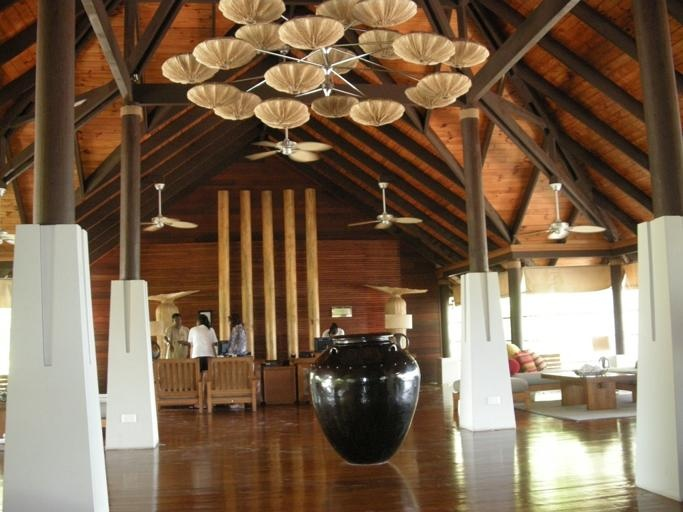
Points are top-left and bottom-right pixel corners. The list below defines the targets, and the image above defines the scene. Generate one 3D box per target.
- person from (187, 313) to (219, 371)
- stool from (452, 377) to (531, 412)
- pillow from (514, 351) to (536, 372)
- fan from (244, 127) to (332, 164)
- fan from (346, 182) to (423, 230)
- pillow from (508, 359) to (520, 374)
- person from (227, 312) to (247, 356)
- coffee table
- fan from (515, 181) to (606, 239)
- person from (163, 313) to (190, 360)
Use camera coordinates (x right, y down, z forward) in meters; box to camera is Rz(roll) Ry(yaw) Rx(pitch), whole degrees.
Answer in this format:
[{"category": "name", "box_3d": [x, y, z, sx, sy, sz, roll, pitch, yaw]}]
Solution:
[{"category": "person", "box_3d": [-2.260, 1.505, 11.398, 0.526, 1.035, 0.411, 2, -10, -24]}, {"category": "stool", "box_3d": [2.234, 1.947, 10.765, 1.090, 0.566, 1.424, -1, 3, 10]}, {"category": "pillow", "box_3d": [2.751, 1.618, 10.868, 0.181, 0.269, 0.215, -32, -33, 19]}, {"category": "fan", "box_3d": [-0.920, -1.950, 12.437, 1.723, 0.496, 1.313, 1, -3, -8]}, {"category": "fan", "box_3d": [0.700, -0.883, 12.200, 1.387, 0.670, 1.278, -1, 8, 17]}, {"category": "pillow", "box_3d": [2.482, 1.617, 10.383, 0.123, 0.239, 0.370, -2, -1, 12]}, {"category": "person", "box_3d": [-1.677, 1.248, 11.360, 0.294, 0.677, 0.544, -1, -1, -9]}, {"category": "coffee table", "box_3d": [3.321, 1.872, 10.030, 1.494, 0.484, 1.521, 2, -5, -2]}, {"category": "fan", "box_3d": [3.535, -0.695, 11.649, 1.318, 0.879, 3.006, -2, -1, 18]}, {"category": "person", "box_3d": [-2.722, 1.326, 11.811, 0.390, 0.725, 0.651, -1, -1, -13]}]
